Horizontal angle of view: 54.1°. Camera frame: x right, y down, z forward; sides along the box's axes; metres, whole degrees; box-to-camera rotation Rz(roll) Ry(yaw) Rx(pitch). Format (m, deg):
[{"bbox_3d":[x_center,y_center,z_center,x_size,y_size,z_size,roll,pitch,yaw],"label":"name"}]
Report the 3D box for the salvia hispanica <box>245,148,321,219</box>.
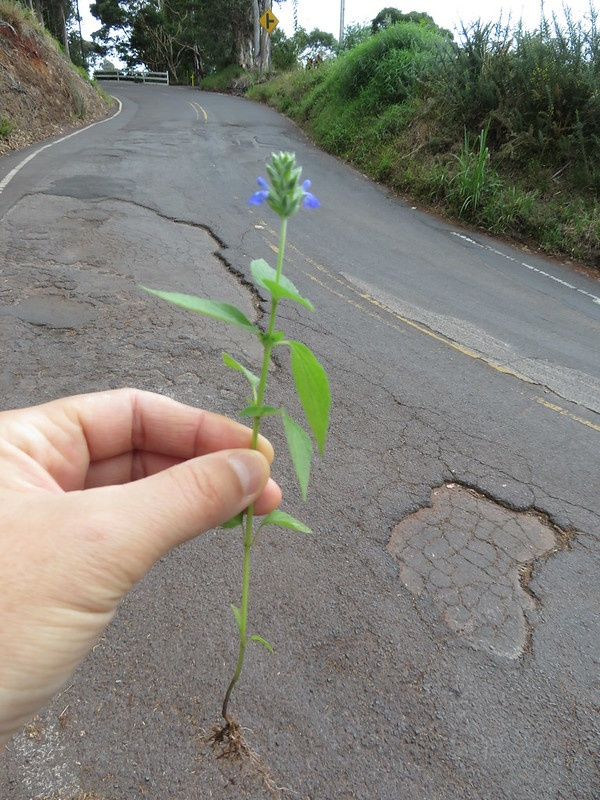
[{"bbox_3d":[-0.047,-0.622,1.725,0.188,0.200,0.326,2,24,-3],"label":"salvia hispanica"}]
